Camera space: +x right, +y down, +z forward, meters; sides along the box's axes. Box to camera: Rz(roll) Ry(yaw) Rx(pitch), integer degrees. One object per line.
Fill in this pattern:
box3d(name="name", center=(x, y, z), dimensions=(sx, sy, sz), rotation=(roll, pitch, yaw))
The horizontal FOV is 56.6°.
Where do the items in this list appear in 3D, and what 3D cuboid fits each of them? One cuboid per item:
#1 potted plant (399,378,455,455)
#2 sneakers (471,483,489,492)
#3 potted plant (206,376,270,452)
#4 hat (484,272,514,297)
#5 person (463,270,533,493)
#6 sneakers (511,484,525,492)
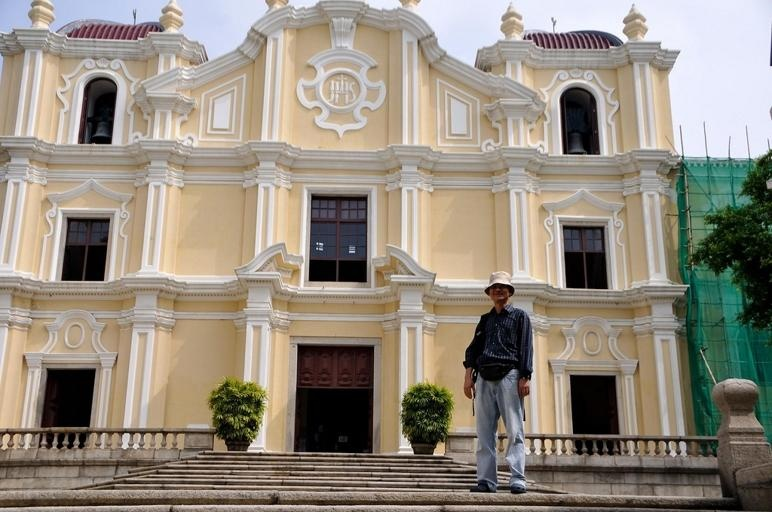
box3d(name="potted plant", center=(1.055, 4.091, 18.148), dimensions=(1.538, 1.694, 1.641), rotation=(3, -15, 2))
box3d(name="sneakers", center=(1.424, 3.458, 10.714), dimensions=(0.323, 0.110, 0.156), rotation=(0, -18, -3))
box3d(name="potted plant", center=(-3.709, 3.994, 18.197), dimensions=(1.595, 1.703, 1.657), rotation=(-2, -10, 1))
box3d(name="hat", center=(1.760, 0.362, 11.089), dimensions=(0.418, 0.288, 0.549), rotation=(-1, -23, 9))
box3d(name="person", center=(1.734, 2.114, 10.812), dimensions=(1.054, 2.770, 0.672), rotation=(-7, -19, 18))
box3d(name="sneakers", center=(1.954, 3.443, 10.567), dimensions=(0.209, 0.107, 0.246), rotation=(-4, -18, 9))
